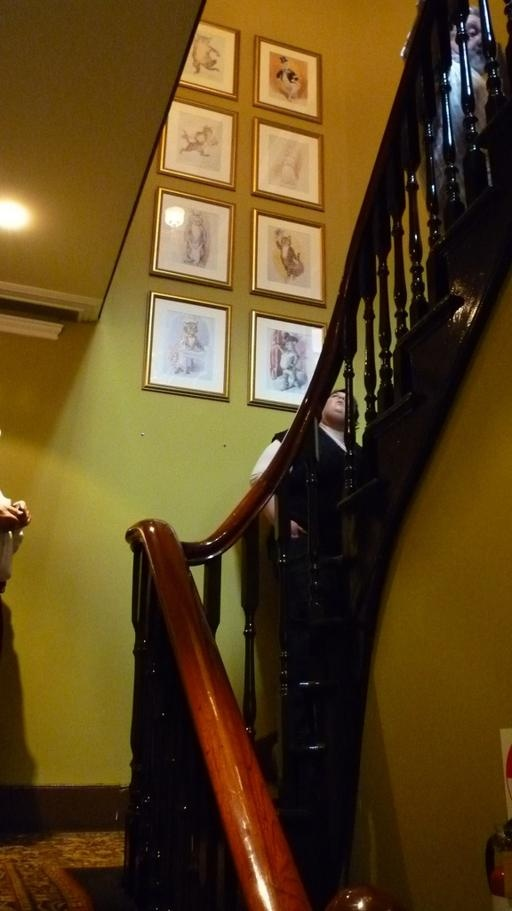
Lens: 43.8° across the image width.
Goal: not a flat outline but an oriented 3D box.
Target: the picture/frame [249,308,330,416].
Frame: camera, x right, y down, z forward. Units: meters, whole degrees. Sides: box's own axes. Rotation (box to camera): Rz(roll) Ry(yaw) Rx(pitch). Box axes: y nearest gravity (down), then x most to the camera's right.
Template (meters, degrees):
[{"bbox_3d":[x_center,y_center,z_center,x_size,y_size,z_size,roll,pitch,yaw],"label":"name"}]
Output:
[{"bbox_3d":[0.215,-0.551,3.832,0.446,0.028,0.656,6,-45,5],"label":"picture/frame"}]

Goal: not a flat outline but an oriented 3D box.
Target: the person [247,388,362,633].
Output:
[{"bbox_3d":[0.221,0.300,2.365,0.393,1.185,0.280,6,21,-5],"label":"person"}]
